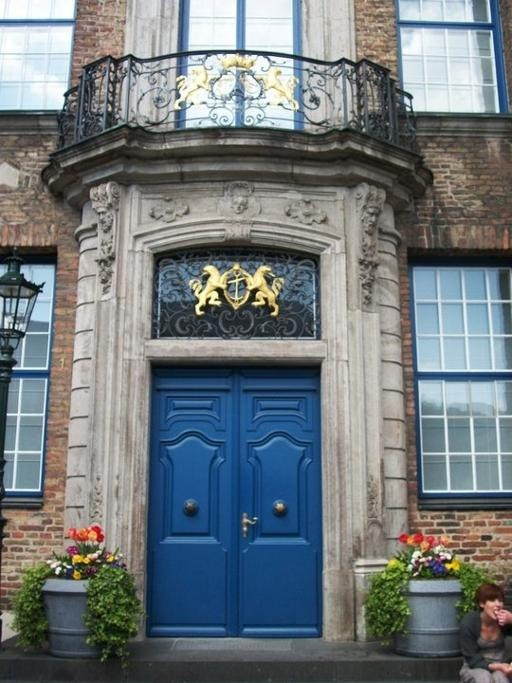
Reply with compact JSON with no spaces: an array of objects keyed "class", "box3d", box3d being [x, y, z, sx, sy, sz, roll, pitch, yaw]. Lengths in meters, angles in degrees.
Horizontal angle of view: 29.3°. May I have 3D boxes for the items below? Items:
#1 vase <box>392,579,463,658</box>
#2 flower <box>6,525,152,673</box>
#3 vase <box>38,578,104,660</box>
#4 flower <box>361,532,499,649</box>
[{"class":"vase","box3d":[1.387,2.327,8.304,0.648,0.625,0.620,4,-9,-8]},{"class":"flower","box3d":[-1.382,2.103,8.269,1.196,1.098,0.817,-7,-9,29]},{"class":"vase","box3d":[-1.417,2.303,8.208,0.721,0.678,0.670,-3,-9,7]},{"class":"flower","box3d":[1.433,2.139,8.440,1.167,0.970,0.755,6,-3,-24]}]
